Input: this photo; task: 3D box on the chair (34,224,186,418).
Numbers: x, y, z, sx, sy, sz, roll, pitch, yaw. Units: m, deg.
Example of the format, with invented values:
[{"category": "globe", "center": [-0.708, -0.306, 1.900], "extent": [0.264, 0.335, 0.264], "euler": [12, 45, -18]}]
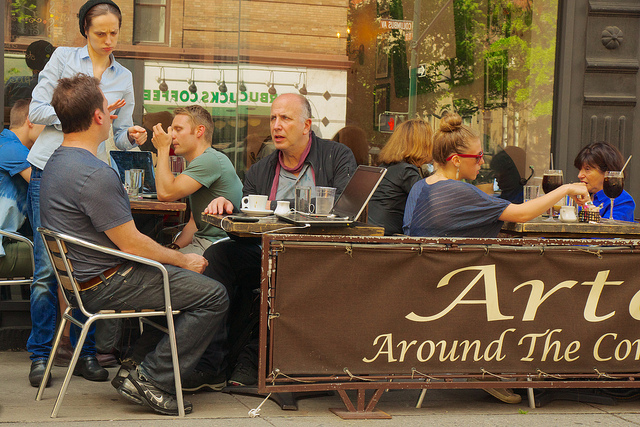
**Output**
[{"category": "chair", "center": [-1.900, 0.855, 8.259], "extent": [1.684, 1.924, 1.380], "euler": [-1, 1, -18]}]

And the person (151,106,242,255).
[{"category": "person", "center": [-1.256, -0.285, 8.853], "extent": [0.986, 1.687, 0.772], "euler": [6, -40, -13]}]

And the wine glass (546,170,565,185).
[{"category": "wine glass", "center": [2.270, -0.342, 8.730], "extent": [0.180, 0.157, 0.174], "euler": [0, -1, 1]}]

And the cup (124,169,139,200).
[{"category": "cup", "center": [-1.880, -0.295, 9.034], "extent": [0.177, 0.262, 0.172], "euler": [-1, -3, 0]}]

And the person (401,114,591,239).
[{"category": "person", "center": [1.546, -0.401, 8.232], "extent": [1.546, 1.181, 1.077], "euler": [-7, 9, -14]}]

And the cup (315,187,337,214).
[{"category": "cup", "center": [0.017, -0.113, 7.699], "extent": [0.209, 0.217, 0.212], "euler": [2, -1, 0]}]

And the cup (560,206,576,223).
[{"category": "cup", "center": [2.294, 0.018, 8.341], "extent": [0.170, 0.124, 0.130], "euler": [4, -6, -9]}]
